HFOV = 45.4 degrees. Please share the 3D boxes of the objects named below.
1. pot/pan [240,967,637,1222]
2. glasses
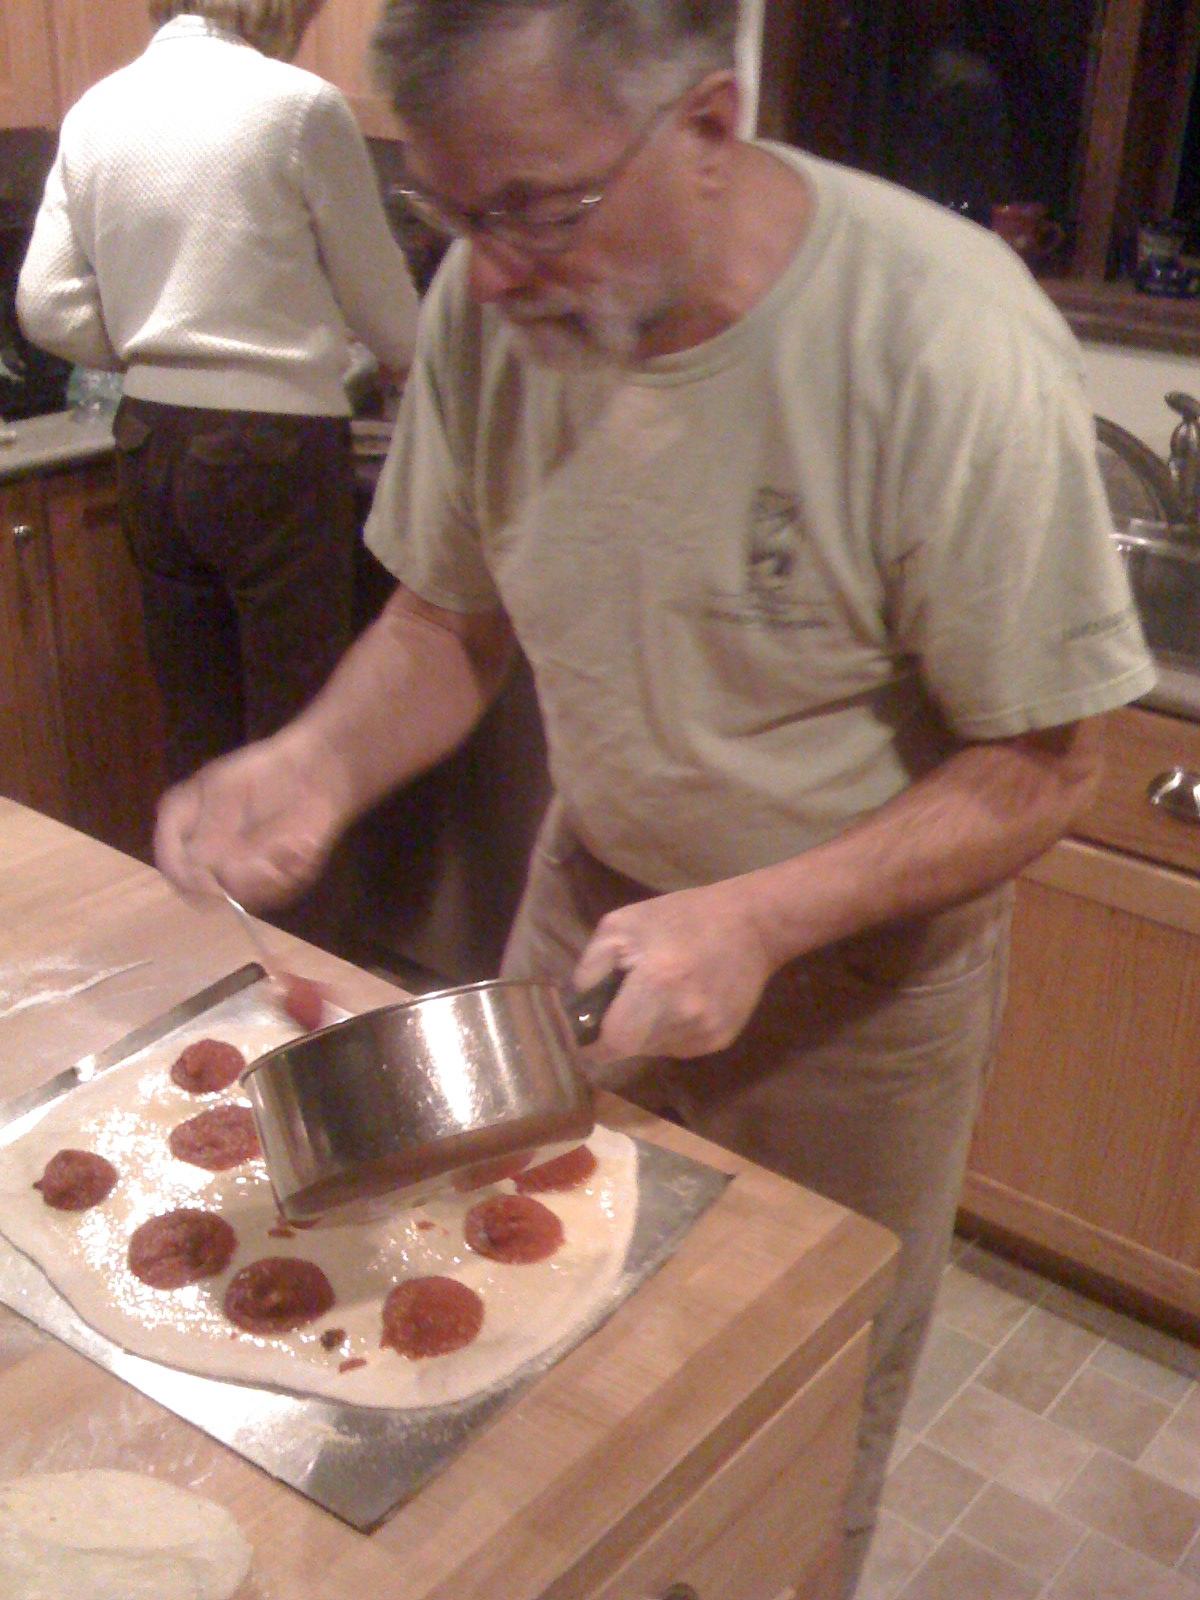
[{"bbox_3d":[-0.076,0.123,0.680,0.176,0.094,0.063,-14,62,-17],"label":"pot/pan"},{"bbox_3d":[-0.037,-0.276,0.685,0.078,0.023,0.075,-45,52,-14],"label":"glasses"}]
